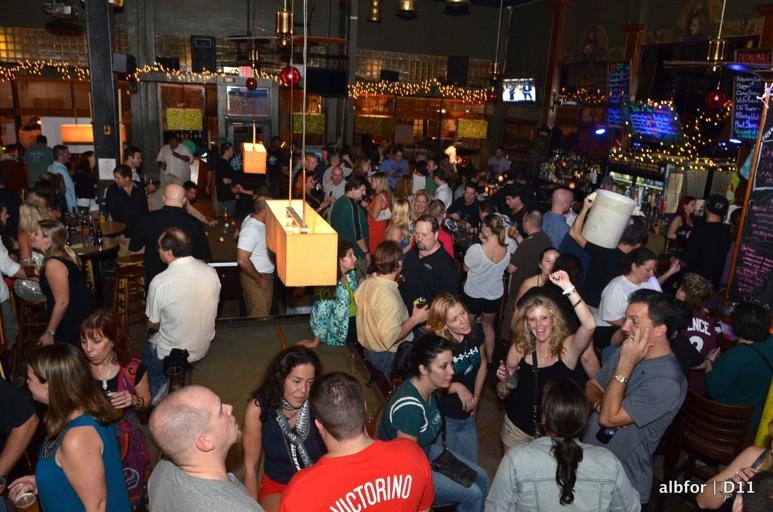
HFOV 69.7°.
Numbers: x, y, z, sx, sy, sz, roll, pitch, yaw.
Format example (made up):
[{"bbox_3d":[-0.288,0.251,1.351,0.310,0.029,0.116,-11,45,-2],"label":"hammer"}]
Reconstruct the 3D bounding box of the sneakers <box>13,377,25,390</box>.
[{"bbox_3d":[-3.120,1.085,4.725,0.080,0.076,0.138,-13,23,-36],"label":"sneakers"}]

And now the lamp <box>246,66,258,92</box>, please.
[{"bbox_3d":[-3.006,-3.914,12.346,0.228,0.493,1.463,-4,19,-13],"label":"lamp"}]

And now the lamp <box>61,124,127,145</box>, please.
[{"bbox_3d":[-4.914,-2.028,9.288,0.671,0.284,0.514,0,5,-5],"label":"lamp"}]

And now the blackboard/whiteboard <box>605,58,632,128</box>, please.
[{"bbox_3d":[4.807,-3.374,11.438,0.130,1.365,0.559,-21,23,-32],"label":"blackboard/whiteboard"}]

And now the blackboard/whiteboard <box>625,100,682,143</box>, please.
[{"bbox_3d":[4.900,-2.464,10.283,1.188,0.771,0.125,3,-7,-12],"label":"blackboard/whiteboard"}]

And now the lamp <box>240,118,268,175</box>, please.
[{"bbox_3d":[-1.408,-1.189,5.952,0.303,0.484,0.317,-3,-1,-39],"label":"lamp"}]

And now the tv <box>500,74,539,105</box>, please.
[{"bbox_3d":[3.464,-4.335,14.538,0.971,0.780,1.443,-15,21,-34],"label":"tv"}]

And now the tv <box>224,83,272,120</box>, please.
[{"bbox_3d":[-3.348,-3.704,13.226,1.433,1.050,0.155,-3,8,-26],"label":"tv"}]

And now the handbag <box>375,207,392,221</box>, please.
[{"bbox_3d":[-0.053,-0.642,8.410,0.227,0.247,0.171,-13,13,-5],"label":"handbag"}]

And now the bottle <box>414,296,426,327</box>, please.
[{"bbox_3d":[0.340,0.545,5.388,0.173,0.261,0.090,8,1,-6],"label":"bottle"}]

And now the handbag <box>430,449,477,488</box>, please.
[{"bbox_3d":[0.532,1.673,4.370,0.300,0.093,0.263,31,17,20],"label":"handbag"}]
